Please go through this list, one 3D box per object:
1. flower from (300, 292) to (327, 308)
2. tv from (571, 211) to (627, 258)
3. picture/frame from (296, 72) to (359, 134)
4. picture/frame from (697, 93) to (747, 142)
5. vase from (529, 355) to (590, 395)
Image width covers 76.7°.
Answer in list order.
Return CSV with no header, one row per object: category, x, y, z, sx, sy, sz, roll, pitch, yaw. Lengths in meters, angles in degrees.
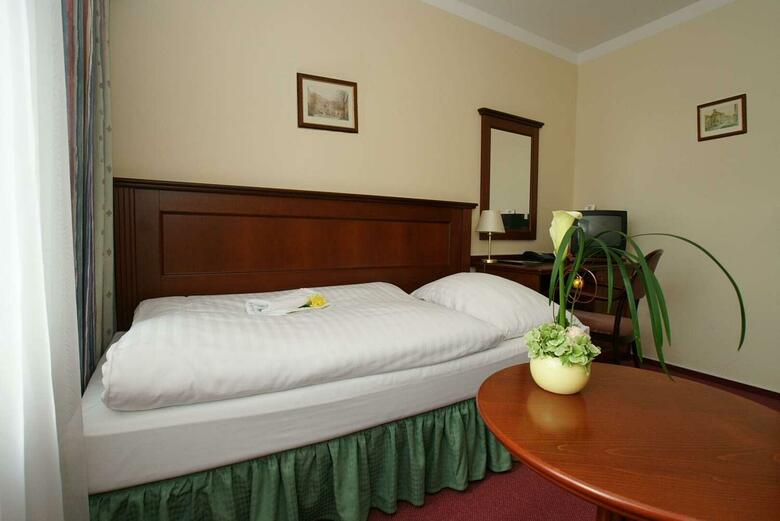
flower,-0.445,0.231,2.939,0.096,0.061,0.085,-4,-1,-42
tv,1.448,-0.198,3.425,0.383,0.408,0.222,0,0,-14
picture/frame,-0.462,-1.115,3.454,0.427,0.401,0.035,0,0,-28
picture/frame,2.608,-1.116,3.836,0.027,0.437,0.392,1,-1,-36
vase,0.807,0.518,2.318,0.239,0.167,0.263,1,8,26
